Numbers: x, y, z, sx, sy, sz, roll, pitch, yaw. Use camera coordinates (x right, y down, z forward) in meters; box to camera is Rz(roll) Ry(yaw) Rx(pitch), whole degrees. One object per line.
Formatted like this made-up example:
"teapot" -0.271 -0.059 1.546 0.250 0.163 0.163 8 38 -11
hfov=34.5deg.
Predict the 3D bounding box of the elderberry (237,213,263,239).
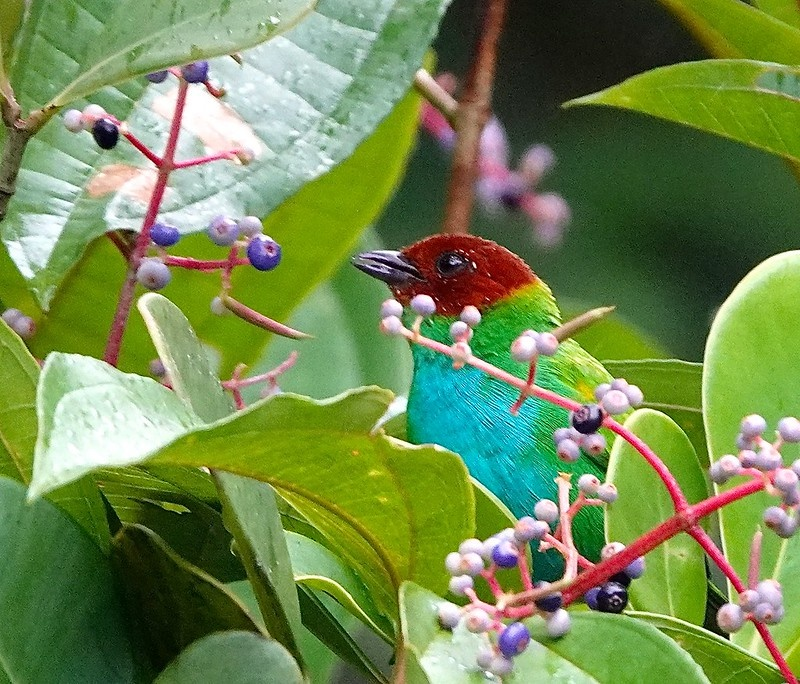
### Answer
"elderberry" -0.083 -0.066 0.726 0.012 0.012 0.015 9 -55 10

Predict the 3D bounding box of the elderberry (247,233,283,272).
"elderberry" -0.074 -0.048 0.711 0.018 0.020 0.011 6 -10 -25

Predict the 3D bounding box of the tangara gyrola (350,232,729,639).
"tangara gyrola" 0.137 0.101 1.085 0.355 0.298 0.183 21 -19 -6

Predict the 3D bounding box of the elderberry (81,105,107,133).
"elderberry" -0.170 -0.127 0.725 0.013 0.015 0.007 35 -39 23

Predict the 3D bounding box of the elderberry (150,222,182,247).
"elderberry" -0.137 -0.062 0.740 0.013 0.008 0.014 11 -49 -6

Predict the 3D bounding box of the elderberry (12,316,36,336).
"elderberry" -0.227 -0.010 0.781 0.011 0.013 0.014 17 -9 -36

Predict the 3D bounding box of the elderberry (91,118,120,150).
"elderberry" -0.165 -0.117 0.730 0.013 0.019 0.013 -20 5 -5
